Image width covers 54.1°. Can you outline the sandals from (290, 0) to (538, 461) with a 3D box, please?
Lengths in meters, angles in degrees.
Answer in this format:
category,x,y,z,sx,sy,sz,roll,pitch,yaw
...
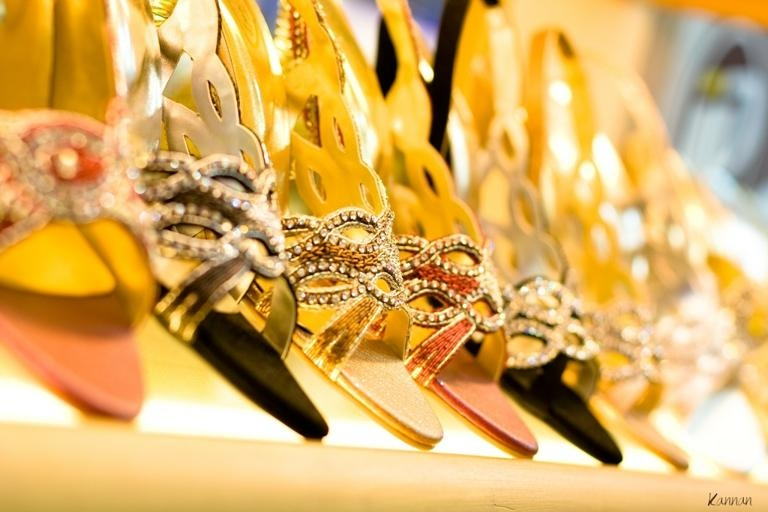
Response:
category,x,y,z,sx,sy,sz,roll,pitch,yaw
sandals,-0.006,-0.094,0.867,0.154,0.092,0.625,27,34,-60

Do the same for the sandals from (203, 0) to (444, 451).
category,x,y,z,sx,sy,sz,roll,pitch,yaw
sandals,-0.094,-0.086,0.762,0.136,0.092,0.530,18,44,-59
